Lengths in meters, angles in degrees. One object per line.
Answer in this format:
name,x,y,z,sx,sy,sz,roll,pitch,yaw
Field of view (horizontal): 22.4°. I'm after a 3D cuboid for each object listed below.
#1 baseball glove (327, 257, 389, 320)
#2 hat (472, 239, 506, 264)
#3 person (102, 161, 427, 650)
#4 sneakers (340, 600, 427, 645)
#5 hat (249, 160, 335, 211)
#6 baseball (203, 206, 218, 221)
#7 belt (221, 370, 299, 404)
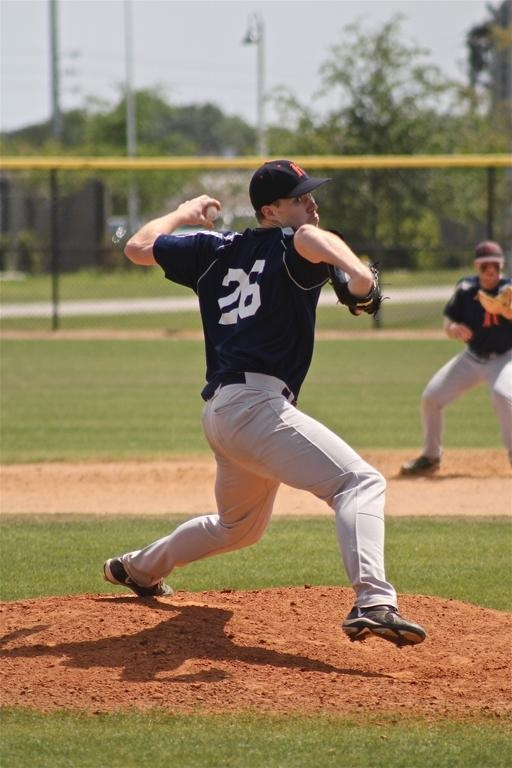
baseball glove,0.342,-0.345,4.590,0.076,0.146,0.201,-19,30,-26
hat,1.267,-0.726,7.113,0.150,0.142,0.217,1,8,9
person,0.028,0.050,4.819,0.582,1.760,1.384,-7,10,-32
sneakers,0.436,0.832,4.554,0.330,0.171,0.119,4,-16,19
hat,0.108,-0.768,4.836,0.310,0.163,0.213,-12,10,36
baseball,-0.184,-0.706,5.328,0.062,0.069,0.060,-6,13,-30
belt,0.015,0.000,4.711,0.157,0.037,0.151,15,-26,4
